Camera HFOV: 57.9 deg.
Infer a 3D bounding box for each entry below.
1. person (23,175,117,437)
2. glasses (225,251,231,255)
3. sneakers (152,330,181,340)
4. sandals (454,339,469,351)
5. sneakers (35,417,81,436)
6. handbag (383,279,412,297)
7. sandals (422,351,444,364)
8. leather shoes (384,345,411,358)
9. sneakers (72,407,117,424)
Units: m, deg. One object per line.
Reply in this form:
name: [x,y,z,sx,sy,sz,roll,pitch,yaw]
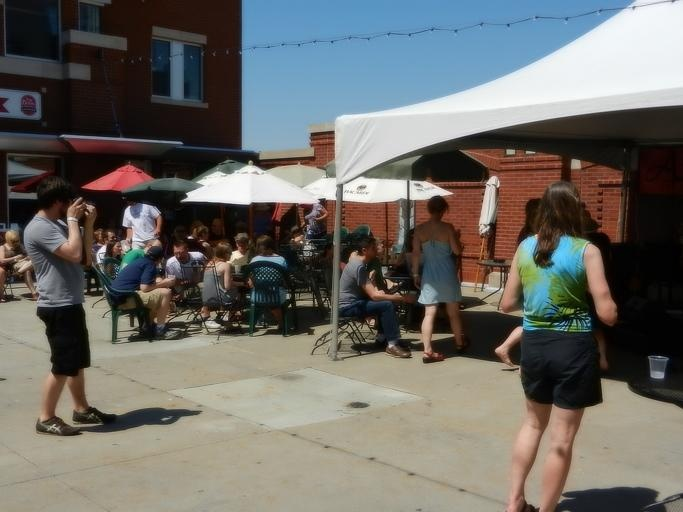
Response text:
person: [-2.506,0.435,5.612,0.537,2.288,0.477,3,4,23]
glasses: [-1.740,-0.045,9.485,0.030,0.039,0.039,-21,1,-29]
sneakers: [-2.591,1.150,9.143,0.301,0.121,0.132,-3,3,-1]
sandals: [1.640,1.209,8.442,0.095,0.096,0.254,2,19,22]
sneakers: [-2.536,1.507,5.522,0.425,0.154,0.145,2,-2,1]
handbag: [0.906,0.497,10.002,0.317,0.375,0.305,0,0,13]
sandals: [1.160,1.301,7.962,0.291,0.105,0.117,-3,5,-14]
leather shoes: [0.735,1.257,8.237,0.326,0.114,0.135,5,10,37]
sneakers: [-2.318,1.493,5.835,0.416,0.161,0.145,1,2,-10]
